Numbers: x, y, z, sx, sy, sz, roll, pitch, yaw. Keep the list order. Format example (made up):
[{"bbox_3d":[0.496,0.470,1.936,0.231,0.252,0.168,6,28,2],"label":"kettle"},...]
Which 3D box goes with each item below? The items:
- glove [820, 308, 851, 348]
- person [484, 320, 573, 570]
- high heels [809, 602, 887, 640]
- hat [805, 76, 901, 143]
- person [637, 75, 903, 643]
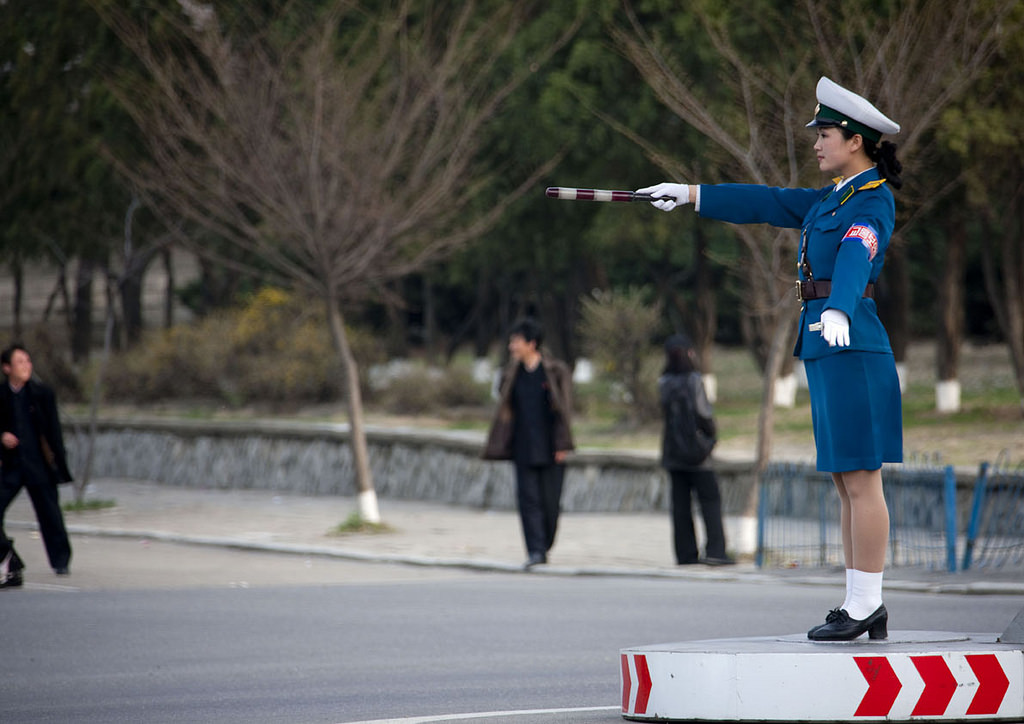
[{"bbox_3d":[1.441,-0.159,11.788,0.133,0.156,0.137,7,14,5],"label":"glove"},{"bbox_3d":[0.100,0.410,14.018,0.461,1.229,0.668,6,14,3],"label":"person"},{"bbox_3d":[1.530,1.200,12.034,0.282,0.125,0.169,1,-8,-5],"label":"high heels"},{"bbox_3d":[1.578,-1.151,12.099,0.333,0.194,0.317,10,4,1],"label":"hat"},{"bbox_3d":[1.438,-0.041,12.147,0.753,2.520,1.137,-3,16,-29],"label":"person"}]
